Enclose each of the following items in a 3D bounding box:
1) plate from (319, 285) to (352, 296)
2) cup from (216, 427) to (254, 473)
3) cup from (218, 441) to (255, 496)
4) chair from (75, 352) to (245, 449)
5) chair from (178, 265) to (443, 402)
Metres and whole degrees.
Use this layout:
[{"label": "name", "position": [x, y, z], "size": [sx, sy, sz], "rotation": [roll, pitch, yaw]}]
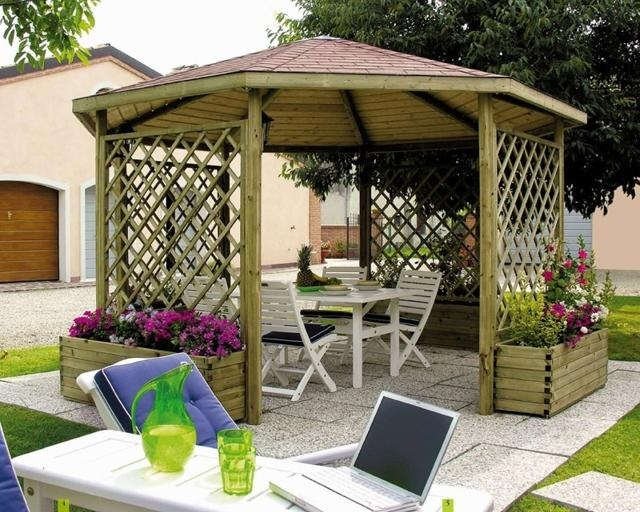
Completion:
[{"label": "plate", "position": [0.138, 0.331, 6.062], "size": [0.306, 0.085, 0.282], "rotation": [-1, 6, 4]}, {"label": "cup", "position": [-0.285, 0.642, 2.110], "size": [0.131, 0.130, 0.124], "rotation": [-2, 5, 0]}, {"label": "cup", "position": [-0.267, 0.722, 2.088], "size": [0.144, 0.148, 0.135], "rotation": [-1, -17, 0]}, {"label": "chair", "position": [-0.781, 0.648, 2.954], "size": [0.530, 0.270, 0.738], "rotation": [-10, 18, -42]}, {"label": "chair", "position": [0.243, 0.654, 6.303], "size": [1.366, 0.863, 2.079], "rotation": [3, 6, 37]}]
